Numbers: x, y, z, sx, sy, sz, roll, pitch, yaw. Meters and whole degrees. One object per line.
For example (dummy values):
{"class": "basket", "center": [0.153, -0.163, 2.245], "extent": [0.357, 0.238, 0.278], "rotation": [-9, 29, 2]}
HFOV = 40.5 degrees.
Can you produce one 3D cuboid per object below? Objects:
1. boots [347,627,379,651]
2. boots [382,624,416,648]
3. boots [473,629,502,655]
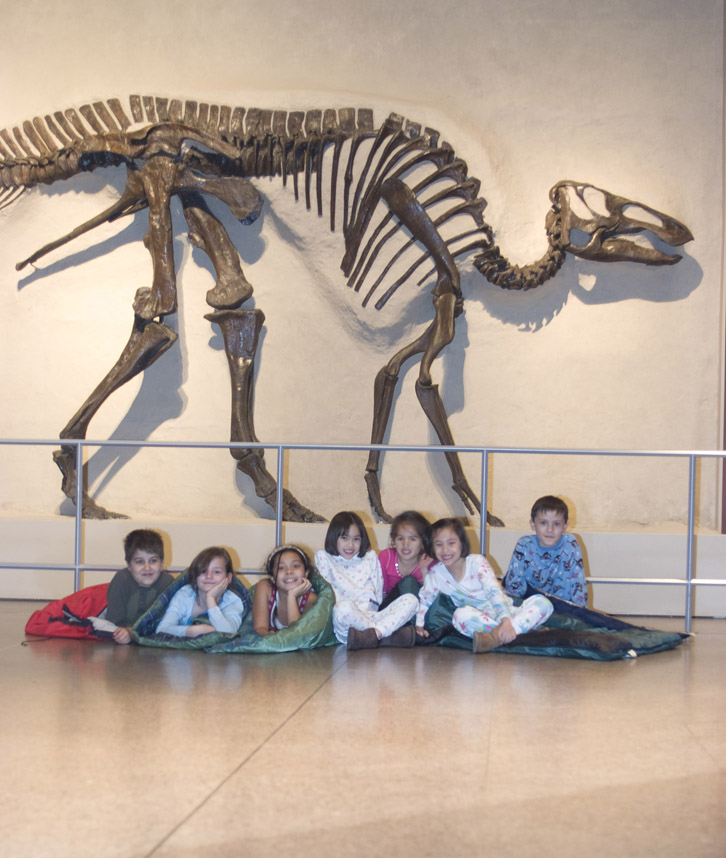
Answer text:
{"class": "boots", "center": [-0.001, 0.758, 3.534], "extent": [0.118, 0.054, 0.119], "rotation": [-23, -24, 4]}
{"class": "boots", "center": [0.135, 0.773, 3.628], "extent": [0.128, 0.075, 0.041], "rotation": [1, 2, -2]}
{"class": "boots", "center": [0.439, 0.760, 3.503], "extent": [0.110, 0.054, 0.044], "rotation": [-6, 6, -23]}
